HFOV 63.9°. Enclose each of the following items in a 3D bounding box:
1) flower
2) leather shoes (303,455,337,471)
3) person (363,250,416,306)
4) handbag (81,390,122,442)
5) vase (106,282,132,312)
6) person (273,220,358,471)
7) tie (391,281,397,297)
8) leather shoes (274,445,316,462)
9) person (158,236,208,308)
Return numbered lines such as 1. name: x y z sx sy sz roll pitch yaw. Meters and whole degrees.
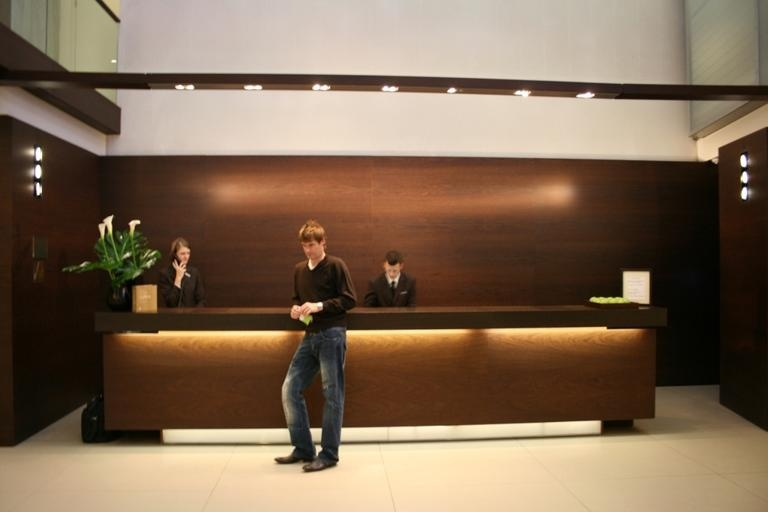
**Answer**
1. flower: -3.104 -0.023 7.081 0.949 0.861 0.941 -9 3 -2
2. leather shoes: -0.670 2.183 6.573 0.373 0.128 0.135 6 -17 -27
3. person: 0.081 0.494 8.001 0.701 1.062 0.622 3 13 1
4. handbag: -3.324 1.839 7.181 0.413 0.523 0.176 1 -4 -7
5. vase: -2.997 0.455 6.999 0.249 0.332 0.108 -4 0 -23
6. person: -0.722 0.926 6.669 0.857 2.660 0.423 -4 0 -4
7. tie: 0.133 0.398 8.016 0.089 0.122 0.031 -6 -9 35
8. leather shoes: -0.953 2.125 6.653 0.504 0.205 0.165 2 -9 -4
9. person: -2.608 0.214 7.925 0.513 0.903 1.254 -4 1 -15
